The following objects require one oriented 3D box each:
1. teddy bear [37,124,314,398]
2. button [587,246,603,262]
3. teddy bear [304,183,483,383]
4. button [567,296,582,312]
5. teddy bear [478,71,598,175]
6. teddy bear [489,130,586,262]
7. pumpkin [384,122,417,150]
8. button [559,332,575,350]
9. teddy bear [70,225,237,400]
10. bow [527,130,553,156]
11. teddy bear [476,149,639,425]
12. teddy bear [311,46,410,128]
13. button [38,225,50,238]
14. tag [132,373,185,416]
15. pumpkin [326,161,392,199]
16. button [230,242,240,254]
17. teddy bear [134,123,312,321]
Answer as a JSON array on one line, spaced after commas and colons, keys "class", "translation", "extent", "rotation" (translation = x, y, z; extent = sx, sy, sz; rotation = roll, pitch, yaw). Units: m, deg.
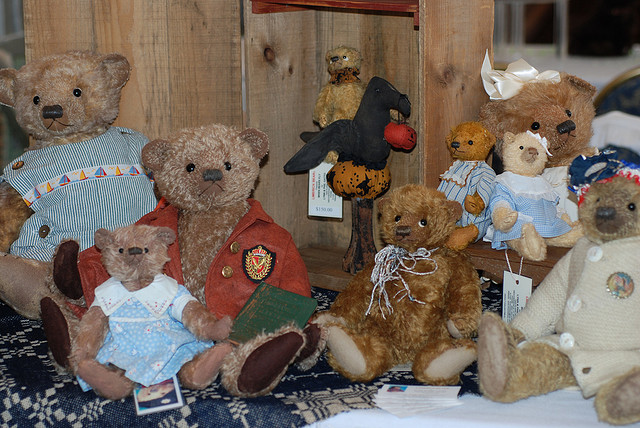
[{"class": "teddy bear", "translation": [-0.490, 0.123, 2.420], "extent": [0.935, 0.959, 0.797], "rotation": [6, 10, 9]}, {"class": "button", "translation": [0.933, 0.142, 2.134], "extent": [0.046, 0.049, 0.011], "rotation": [-9, -13, 29]}, {"class": "teddy bear", "translation": [0.272, 0.184, 2.596], "extent": [0.753, 0.799, 0.681], "rotation": [3, 4, 38]}, {"class": "button", "translation": [0.872, 0.316, 2.156], "extent": [0.045, 0.047, 0.014], "rotation": [-5, -4, 44]}, {"class": "teddy bear", "translation": [0.902, -0.421, 2.759], "extent": [0.440, 0.402, 0.425], "rotation": [-4, 18, -2]}, {"class": "teddy bear", "translation": [0.848, -0.096, 2.529], "extent": [0.397, 0.492, 0.341], "rotation": [-7, 7, -31]}, {"class": "pumpkin", "translation": [0.352, -0.341, 2.821], "extent": [0.113, 0.107, 0.114], "rotation": [25, -14, -39]}, {"class": "button", "translation": [0.854, 0.448, 2.180], "extent": [0.049, 0.051, 0.013], "rotation": [-6, -11, 38]}, {"class": "teddy bear", "translation": [-0.616, 0.343, 2.287], "extent": [0.546, 0.590, 0.410], "rotation": [-3, 18, -7]}, {"class": "bow", "translation": [0.883, -0.290, 2.561], "extent": [0.054, 0.135, 0.052], "rotation": [-33, 6, 39]}, {"class": "teddy bear", "translation": [0.818, 0.268, 2.122], "extent": [0.519, 0.745, 0.390], "rotation": [4, 16, 16]}, {"class": "teddy bear", "translation": [0.217, -0.649, 3.119], "extent": [0.468, 0.422, 0.286], "rotation": [-9, 18, -18]}, {"class": "button", "translation": [-1.203, 0.082, 2.759], "extent": [0.047, 0.049, 0.011], "rotation": [-6, -1, 1]}, {"class": "tag", "translation": [-0.562, 0.649, 2.211], "extent": [0.169, 0.102, 0.112], "rotation": [-6, 17, -18]}, {"class": "pumpkin", "translation": [0.193, -0.189, 2.969], "extent": [0.370, 0.201, 0.207], "rotation": [-13, 19, -32]}, {"class": "button", "translation": [-0.324, 0.134, 2.425], "extent": [0.043, 0.045, 0.010], "rotation": [2, -4, -28]}, {"class": "teddy bear", "translation": [-0.441, 0.113, 2.439], "extent": [0.799, 0.866, 0.543], "rotation": [-2, 0, -5]}]
